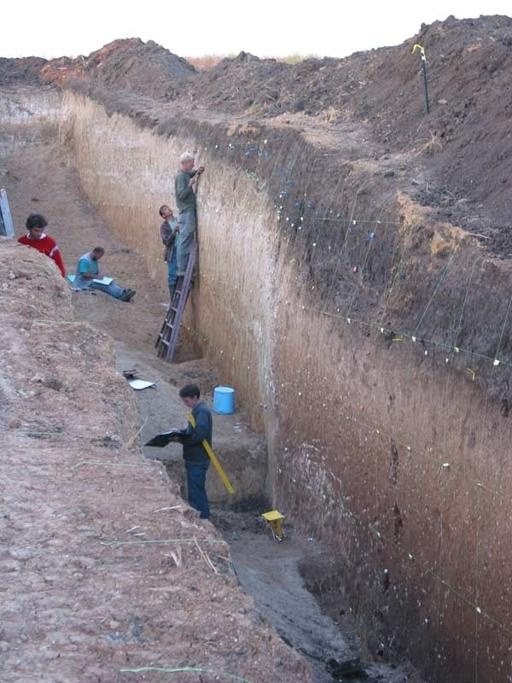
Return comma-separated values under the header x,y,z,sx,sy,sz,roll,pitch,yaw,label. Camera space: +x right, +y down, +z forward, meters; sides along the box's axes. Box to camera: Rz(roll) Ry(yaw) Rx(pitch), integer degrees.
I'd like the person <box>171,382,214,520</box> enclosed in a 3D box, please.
x,y,z,sx,sy,sz,roll,pitch,yaw,label
-0.453,0.829,7.869,0.239,1.091,0.458,13,13,26,person

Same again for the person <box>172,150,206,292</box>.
x,y,z,sx,sy,sz,roll,pitch,yaw,label
-0.645,-1.169,10.439,0.456,1.687,0.539,-3,36,-7,person

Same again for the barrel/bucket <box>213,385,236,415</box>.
x,y,z,sx,sy,sz,roll,pitch,yaw,label
-0.275,0.525,9.518,0.203,0.233,0.211,1,10,0,barrel/bucket
